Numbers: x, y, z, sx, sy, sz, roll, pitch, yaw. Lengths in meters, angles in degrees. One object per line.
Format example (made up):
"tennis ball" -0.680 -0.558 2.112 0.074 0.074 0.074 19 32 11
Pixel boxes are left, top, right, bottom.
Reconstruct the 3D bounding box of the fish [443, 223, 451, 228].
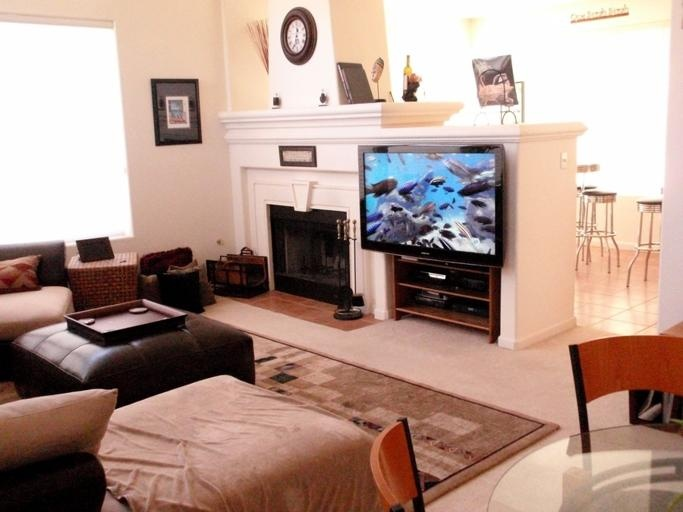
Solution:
"fish" 0.930 -0.267 4.596 0.045 0.030 0.039 0 2 -40

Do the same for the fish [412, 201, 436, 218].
"fish" 0.708 -0.421 4.734 0.249 0.065 0.137 -26 7 44

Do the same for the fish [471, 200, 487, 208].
"fish" 1.150 -0.440 4.358 0.023 0.051 0.124 7 20 -37

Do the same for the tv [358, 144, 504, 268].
"tv" 0.841 -0.478 4.717 0.136 1.061 1.591 -20 20 -36

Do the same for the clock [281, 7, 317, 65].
"clock" -0.471 -2.378 5.669 0.092 0.592 0.588 -13 17 -37

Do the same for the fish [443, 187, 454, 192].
"fish" 0.931 -0.578 4.529 0.074 0.039 0.035 20 17 41

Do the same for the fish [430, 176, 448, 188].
"fish" 0.850 -0.657 4.578 0.043 0.091 0.211 5 -6 -41

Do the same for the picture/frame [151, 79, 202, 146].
"picture/frame" -2.003 -1.727 6.233 0.758 0.871 0.066 -16 22 -42

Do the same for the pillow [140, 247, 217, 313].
"pillow" -1.883 0.285 5.807 0.233 0.708 0.791 -14 -3 42

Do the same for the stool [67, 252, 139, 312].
"stool" -2.389 0.258 5.252 0.605 0.431 0.587 -5 12 -28

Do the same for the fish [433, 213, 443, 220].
"fish" 0.861 -0.355 4.653 0.063 0.066 0.028 23 -4 32

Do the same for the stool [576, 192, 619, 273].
"stool" 3.673 -0.392 7.448 0.564 0.941 0.540 3 8 12

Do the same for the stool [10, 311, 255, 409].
"stool" -1.311 0.671 3.420 0.821 0.357 0.865 -4 7 -43

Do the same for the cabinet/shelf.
"cabinet/shelf" 1.004 0.336 4.899 1.063 0.618 0.330 8 12 42

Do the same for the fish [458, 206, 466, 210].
"fish" 1.033 -0.415 4.471 0.057 0.031 0.018 13 1 42

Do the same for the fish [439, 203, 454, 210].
"fish" 0.920 -0.436 4.571 0.051 0.035 0.128 34 -11 -21
